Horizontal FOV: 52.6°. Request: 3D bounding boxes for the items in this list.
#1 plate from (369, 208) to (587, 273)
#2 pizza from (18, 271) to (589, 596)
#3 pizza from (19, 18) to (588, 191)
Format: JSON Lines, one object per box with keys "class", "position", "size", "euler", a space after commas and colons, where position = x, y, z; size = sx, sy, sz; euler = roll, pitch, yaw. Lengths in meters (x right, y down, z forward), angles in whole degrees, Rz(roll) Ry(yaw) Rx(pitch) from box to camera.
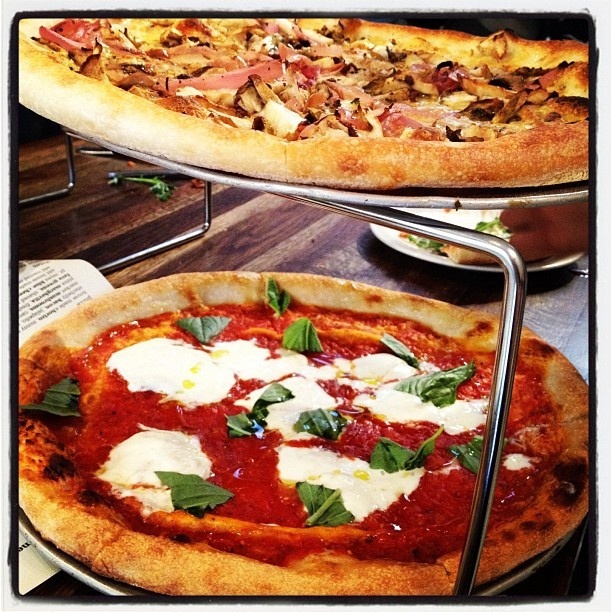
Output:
{"class": "plate", "position": [0.271, -0.110, 1.006], "size": [0.236, 0.023, 0.187], "euler": [4, 29, 5]}
{"class": "pizza", "position": [-0.071, 0.095, 0.681], "size": [0.514, 0.104, 0.494], "euler": [5, 29, 15]}
{"class": "pizza", "position": [0.003, -0.266, 0.783], "size": [0.674, 0.056, 0.503], "euler": [17, 21, 29]}
